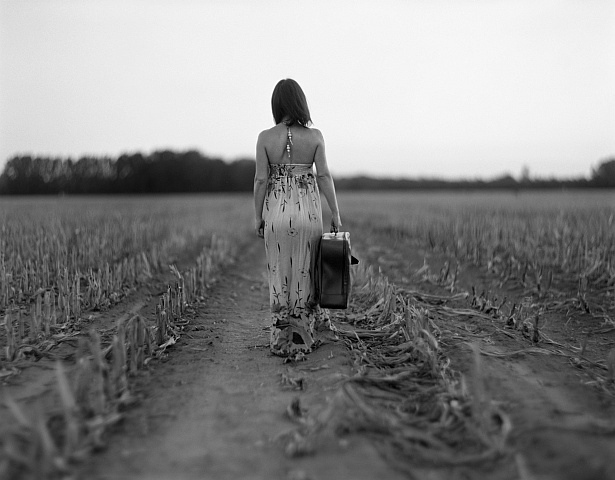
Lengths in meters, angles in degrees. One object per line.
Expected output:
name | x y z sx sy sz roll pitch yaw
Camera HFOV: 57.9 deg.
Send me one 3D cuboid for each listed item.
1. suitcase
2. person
suitcase | 0.366 0.308 6.184 0.482 1.279 0.718 0 4 6
person | -0.130 -0.224 5.744 0.829 2.819 0.475 -1 6 -7
